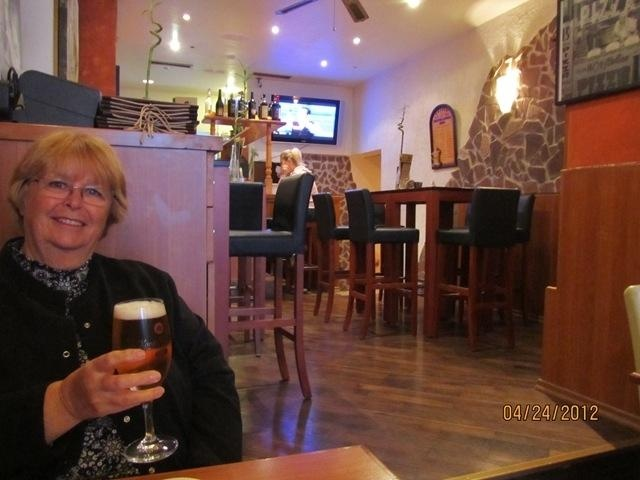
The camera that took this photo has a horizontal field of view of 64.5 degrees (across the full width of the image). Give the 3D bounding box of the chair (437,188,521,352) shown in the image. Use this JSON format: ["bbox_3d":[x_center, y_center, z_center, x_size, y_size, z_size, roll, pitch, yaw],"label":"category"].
[{"bbox_3d":[1.303,0.170,4.238,0.618,1.184,1.211,2,5,21],"label":"chair"}]

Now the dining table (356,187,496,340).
[{"bbox_3d":[1.152,0.285,4.571,1.398,1.480,1.059,-2,5,-15],"label":"dining table"}]

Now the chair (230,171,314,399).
[{"bbox_3d":[-0.329,0.212,3.199,0.513,1.222,1.199,0,5,-5],"label":"chair"}]
